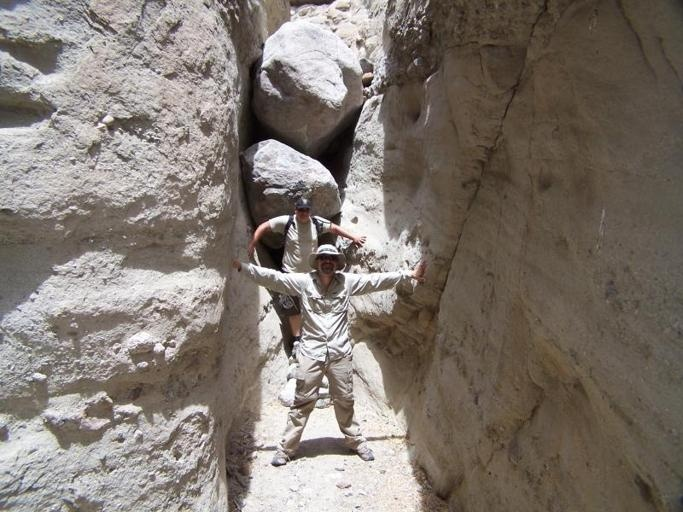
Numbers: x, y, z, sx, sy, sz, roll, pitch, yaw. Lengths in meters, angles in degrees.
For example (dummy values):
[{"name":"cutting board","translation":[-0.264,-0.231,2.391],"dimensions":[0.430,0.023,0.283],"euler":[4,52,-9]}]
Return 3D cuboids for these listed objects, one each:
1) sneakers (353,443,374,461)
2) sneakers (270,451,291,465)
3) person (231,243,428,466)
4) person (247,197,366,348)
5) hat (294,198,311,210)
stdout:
[{"name":"sneakers","translation":[0.160,1.338,3.481],"dimensions":[0.079,0.147,0.064],"euler":[9,72,-26]},{"name":"sneakers","translation":[-0.399,1.311,3.333],"dimensions":[0.059,0.118,0.060],"euler":[0,58,-1]},{"name":"person","translation":[-0.081,0.741,3.709],"dimensions":[1.271,0.351,1.578],"euler":[1,82,-7]},{"name":"person","translation":[-0.274,0.131,3.876],"dimensions":[1.077,0.370,1.370],"euler":[-1,96,-17]},{"name":"hat","translation":[-0.284,-0.390,3.825],"dimensions":[0.098,0.076,0.133],"euler":[9,41,-1]}]
